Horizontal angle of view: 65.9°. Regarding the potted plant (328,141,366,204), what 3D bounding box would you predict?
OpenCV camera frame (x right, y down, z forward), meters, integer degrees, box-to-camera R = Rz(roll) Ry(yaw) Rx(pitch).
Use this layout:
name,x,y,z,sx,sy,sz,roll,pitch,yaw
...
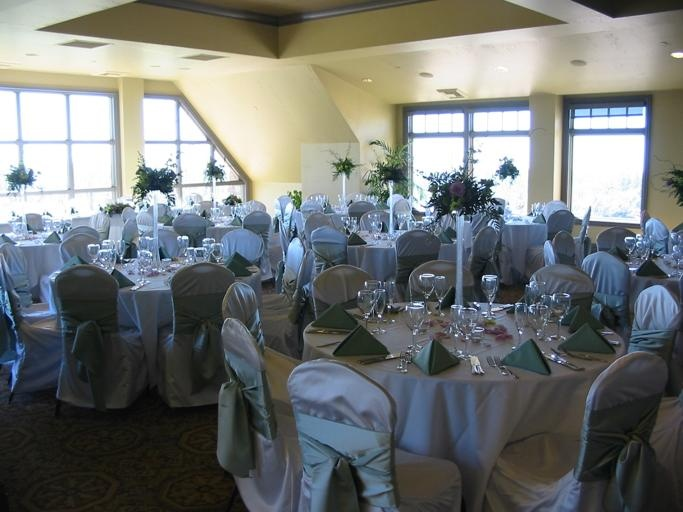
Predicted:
name,x,y,z,sx,sy,sz,roll,pitch,yaw
potted plant,0.032,-1.728,11.785,0.485,1.182,0.573,-1,10,-11

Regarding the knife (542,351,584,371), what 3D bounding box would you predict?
name,x,y,z,sx,sy,sz,roll,pitch,yaw
knife,1.250,0.600,2.984,0.059,0.036,0.249,-9,4,-11

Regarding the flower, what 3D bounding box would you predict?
name,x,y,z,sx,sy,sz,roll,pitch,yaw
flower,0.868,-0.505,3.971,0.450,0.381,0.433,2,28,24

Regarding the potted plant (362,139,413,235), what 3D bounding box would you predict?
name,x,y,z,sx,sy,sz,roll,pitch,yaw
potted plant,1.017,-1.677,10.874,0.804,1.832,1.006,-3,-13,-5
